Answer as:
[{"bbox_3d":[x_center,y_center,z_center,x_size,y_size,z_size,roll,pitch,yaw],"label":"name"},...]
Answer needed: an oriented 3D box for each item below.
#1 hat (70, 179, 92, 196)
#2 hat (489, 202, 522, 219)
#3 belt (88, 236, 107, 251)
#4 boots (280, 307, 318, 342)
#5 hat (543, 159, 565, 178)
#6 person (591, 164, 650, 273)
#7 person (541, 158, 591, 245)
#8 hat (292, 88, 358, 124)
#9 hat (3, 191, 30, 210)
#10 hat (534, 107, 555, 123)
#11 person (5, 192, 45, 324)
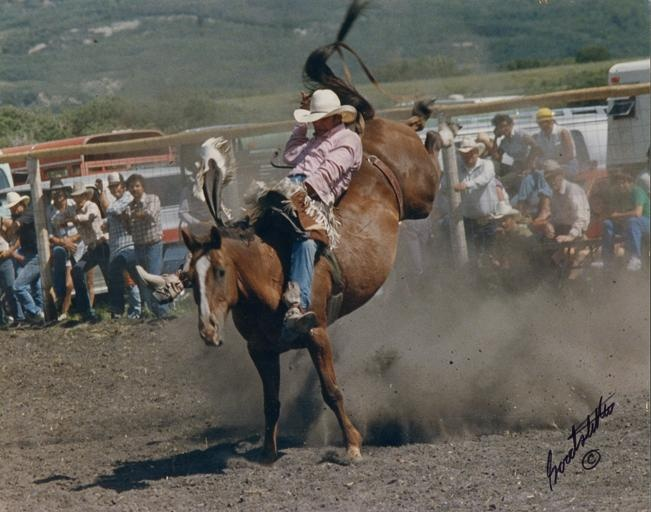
[{"bbox_3d":[-2.928,-0.813,14.533,0.167,0.081,0.199,-19,-19,-1],"label":"hat"},{"bbox_3d":[2.187,-0.550,14.647,0.225,0.091,0.192,-10,11,14],"label":"hat"},{"bbox_3d":[-2.743,-0.146,14.507,0.166,0.068,0.169,-25,-1,-14],"label":"belt"},{"bbox_3d":[-0.257,0.698,12.194,0.360,0.409,0.310,-5,11,1],"label":"boots"},{"bbox_3d":[2.769,-1.061,14.573,0.184,0.085,0.218,-21,10,-1],"label":"hat"},{"bbox_3d":[3.628,-0.407,14.646,0.629,1.199,0.302,-2,11,12],"label":"person"},{"bbox_3d":[2.837,-0.640,14.705,0.704,1.042,0.610,4,24,33],"label":"person"},{"bbox_3d":[-0.001,-1.590,12.757,0.622,0.332,0.753,3,6,39],"label":"hat"},{"bbox_3d":[-3.783,-0.700,14.814,0.240,0.209,0.096,-25,61,-33],"label":"hat"},{"bbox_3d":[2.687,-1.729,14.649,0.170,0.092,0.169,-10,15,-18],"label":"hat"},{"bbox_3d":[-3.670,0.013,14.794,0.352,1.588,0.397,-7,11,-9],"label":"person"}]
